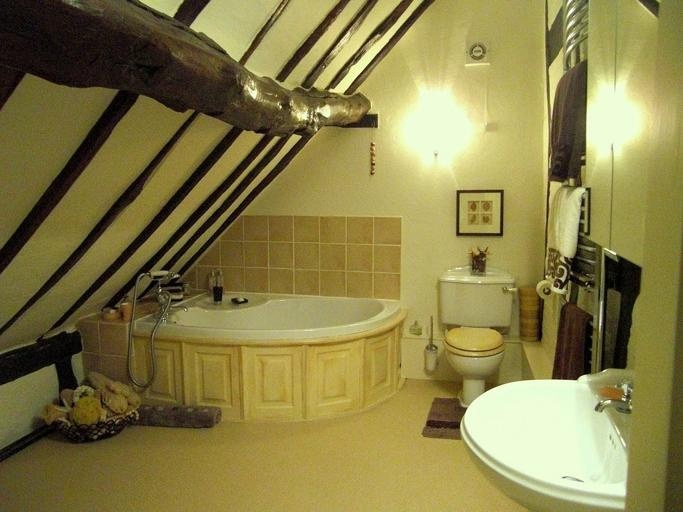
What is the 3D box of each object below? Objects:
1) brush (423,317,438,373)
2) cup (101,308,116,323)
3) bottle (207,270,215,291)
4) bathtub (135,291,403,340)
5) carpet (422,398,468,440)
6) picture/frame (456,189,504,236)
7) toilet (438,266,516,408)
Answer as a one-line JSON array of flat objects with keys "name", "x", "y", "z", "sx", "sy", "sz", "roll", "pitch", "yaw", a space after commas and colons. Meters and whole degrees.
[{"name": "brush", "x": 0.732, "y": 0.729, "z": 4.198, "sx": 0.116, "sy": 0.472, "sz": 0.226, "roll": 2, "pitch": 10, "yaw": 15}, {"name": "cup", "x": -1.675, "y": 0.424, "z": 3.734, "sx": 0.084, "sy": 0.054, "sz": 0.086, "roll": 1, "pitch": 2, "yaw": 0}, {"name": "bottle", "x": -1.101, "y": 0.199, "z": 4.388, "sx": 0.066, "sy": 0.041, "sz": 0.173, "roll": -5, "pitch": 27, "yaw": -6}, {"name": "bathtub", "x": -0.485, "y": 0.509, "z": 4.019, "sx": 1.847, "sy": 0.290, "sz": 1.045, "roll": 1, "pitch": 10, "yaw": 8}, {"name": "carpet", "x": 0.689, "y": 1.096, "z": 3.489, "sx": 0.320, "sy": 0.113, "sz": 0.480, "roll": 0, "pitch": 5, "yaw": 19}, {"name": "picture/frame", "x": 1.114, "y": -0.361, "z": 4.096, "sx": 0.340, "sy": 0.361, "sz": 0.034, "roll": 1, "pitch": 3, "yaw": 4}, {"name": "toilet", "x": 1.013, "y": 0.624, "z": 3.998, "sx": 0.556, "sy": 0.933, "sz": 0.870, "roll": 3, "pitch": 12, "yaw": 20}]
